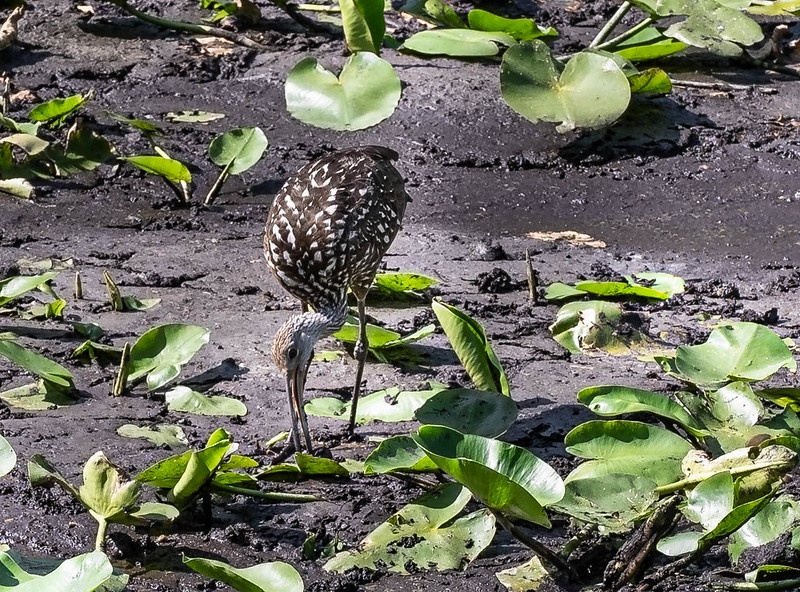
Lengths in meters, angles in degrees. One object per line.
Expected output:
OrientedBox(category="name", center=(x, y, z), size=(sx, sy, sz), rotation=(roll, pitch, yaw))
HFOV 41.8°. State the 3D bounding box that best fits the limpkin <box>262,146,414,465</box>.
OrientedBox(category="limpkin", center=(-0.543, -0.228, 7.393), size=(0.943, 1.013, 2.384), rotation=(12, 38, -3))
